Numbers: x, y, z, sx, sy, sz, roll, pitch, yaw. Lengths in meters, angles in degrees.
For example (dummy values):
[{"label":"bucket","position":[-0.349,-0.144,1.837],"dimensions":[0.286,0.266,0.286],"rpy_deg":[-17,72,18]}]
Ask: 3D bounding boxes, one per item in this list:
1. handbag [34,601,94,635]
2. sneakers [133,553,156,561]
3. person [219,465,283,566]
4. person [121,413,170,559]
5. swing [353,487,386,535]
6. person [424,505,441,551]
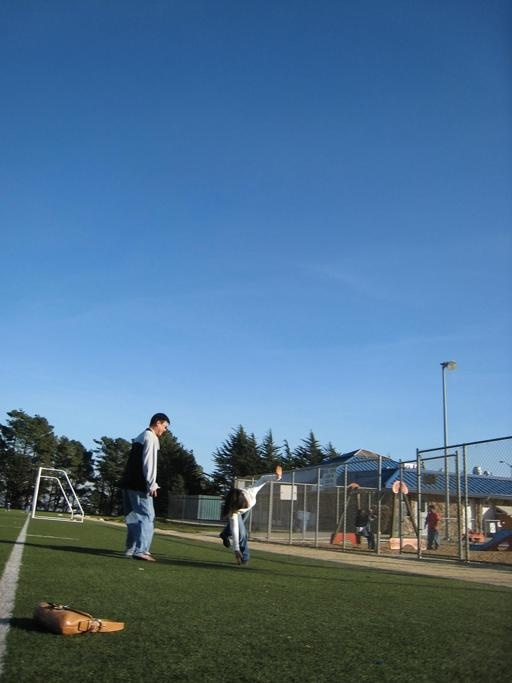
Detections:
[{"label":"handbag","position":[-0.846,1.219,2.486],"dimensions":[0.203,0.109,0.084],"rpy_deg":[-16,-38,35]},{"label":"sneakers","position":[-1.226,2.370,6.196],"dimensions":[0.206,0.076,0.106],"rpy_deg":[-3,-17,18]},{"label":"person","position":[-0.068,2.137,6.930],"dimensions":[0.693,1.210,1.069],"rpy_deg":[4,-14,0]},{"label":"person","position":[-1.337,1.673,6.585],"dimensions":[0.453,1.663,0.807],"rpy_deg":[7,-15,-9]},{"label":"swing","position":[4.033,6.130,20.190],"dimensions":[1.339,1.827,1.285],"rpy_deg":[2,-21,-9]},{"label":"person","position":[5.448,5.864,17.547],"dimensions":[0.404,1.270,2.395],"rpy_deg":[0,-14,16]}]
